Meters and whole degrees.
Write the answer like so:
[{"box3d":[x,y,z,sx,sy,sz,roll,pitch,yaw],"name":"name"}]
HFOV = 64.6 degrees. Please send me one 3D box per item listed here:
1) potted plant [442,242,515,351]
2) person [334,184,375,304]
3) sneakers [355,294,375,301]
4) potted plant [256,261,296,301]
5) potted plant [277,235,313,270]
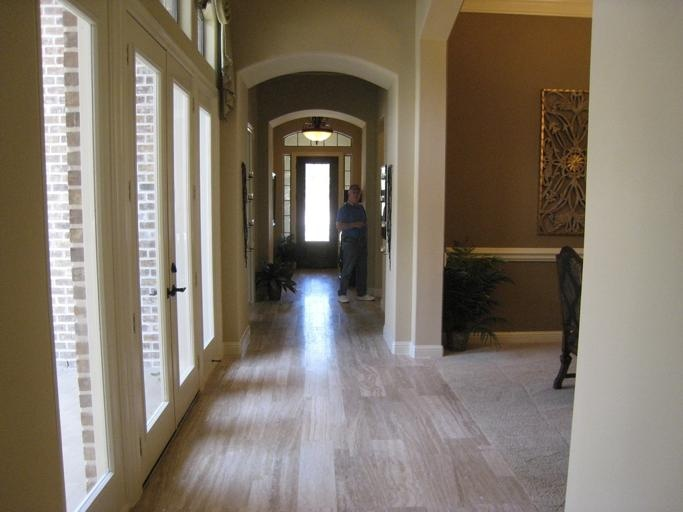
[{"box3d":[1.260,0.421,5.918,0.980,1.220,0.938,1,-2,-4],"name":"potted plant"},{"box3d":[0.230,-0.202,8.118,0.564,1.725,0.597,1,7,3],"name":"person"},{"box3d":[0.378,0.628,8.243,0.199,0.096,0.105,-1,2,-2],"name":"sneakers"},{"box3d":[-1.018,0.366,8.237,0.576,0.554,0.734,-1,8,-10],"name":"potted plant"},{"box3d":[-0.950,-0.101,10.350,0.605,0.699,0.532,-6,0,-33],"name":"potted plant"}]
